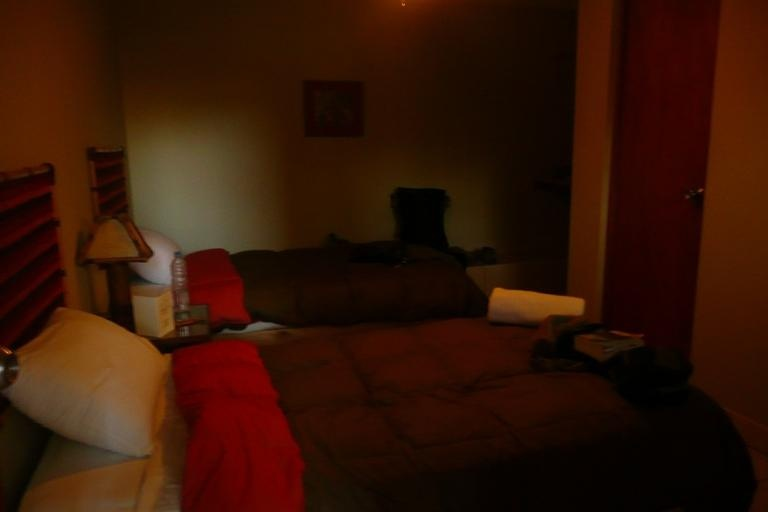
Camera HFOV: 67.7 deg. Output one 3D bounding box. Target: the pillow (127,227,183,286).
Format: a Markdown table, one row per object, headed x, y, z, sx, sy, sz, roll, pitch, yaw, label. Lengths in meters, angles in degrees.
| x | y | z | sx | sy | sz | roll | pitch | yaw | label |
| --- | --- | --- | --- | --- | --- | --- | --- | --- | --- |
| -0.959 | -0.010 | 2.422 | 0.228 | 0.217 | 0.175 | -2 | 24 | -24 | pillow |

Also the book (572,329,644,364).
| x | y | z | sx | sy | sz | roll | pitch | yaw | label |
| --- | --- | --- | --- | --- | --- | --- | --- | --- | --- |
| 0.846 | 0.309 | 2.145 | 0.139 | 0.051 | 0.144 | -10 | 9 | -4 | book |
